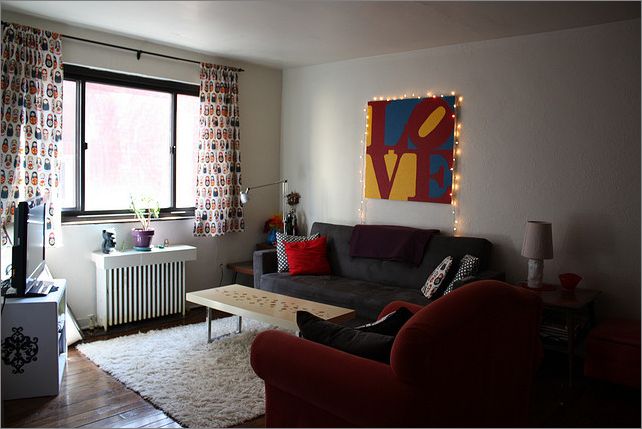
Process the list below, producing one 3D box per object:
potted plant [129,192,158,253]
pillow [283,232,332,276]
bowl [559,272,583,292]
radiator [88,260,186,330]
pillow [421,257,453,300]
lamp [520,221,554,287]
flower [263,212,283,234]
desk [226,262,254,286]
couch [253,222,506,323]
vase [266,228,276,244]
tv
[{"bbox_3d":[-2.129,0.082,5.356,0.338,0.641,0.501,-2,6,-21],"label":"potted plant"},{"bbox_3d":[-0.165,0.503,5.360,0.453,0.448,0.168,-3,-30,-15],"label":"pillow"},{"bbox_3d":[2.425,0.649,4.303,0.168,0.127,0.185,5,5,26],"label":"bowl"},{"bbox_3d":[-2.172,0.935,5.109,0.781,0.588,0.128,-3,6,-44],"label":"radiator"},{"bbox_3d":[1.159,0.631,4.428,0.096,0.433,0.263,30,9,-22],"label":"pillow"},{"bbox_3d":[2.128,0.399,4.359,0.267,0.639,0.207,2,6,26],"label":"lamp"},{"bbox_3d":[-0.686,0.114,6.216,0.237,0.246,0.240,7,7,22],"label":"flower"},{"bbox_3d":[-1.100,0.809,5.926,0.354,0.307,0.602,-1,6,-10],"label":"desk"},{"bbox_3d":[0.449,0.823,5.121,1.143,1.232,2.838,0,1,-42],"label":"couch"},{"bbox_3d":[-0.690,0.301,6.129,0.113,0.207,0.155,-9,22,-35],"label":"vase"},{"bbox_3d":[-2.656,0.271,4.005,0.327,0.846,0.847,-1,4,-18],"label":"tv"}]
